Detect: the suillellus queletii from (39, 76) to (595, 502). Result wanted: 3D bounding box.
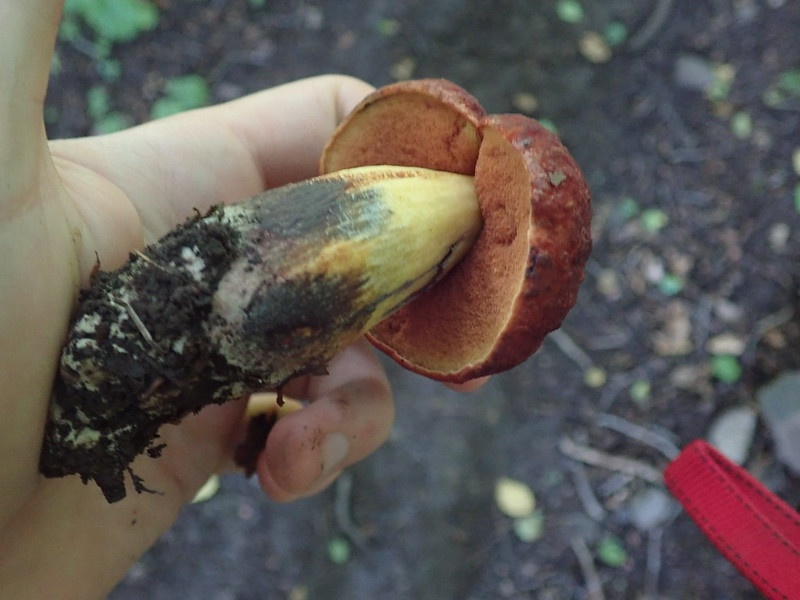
[{"bbox_3d":[-0.171,-0.062,1.963,1.168,0.346,0.656,-17,83,-5],"label":"suillellus queletii"}]
